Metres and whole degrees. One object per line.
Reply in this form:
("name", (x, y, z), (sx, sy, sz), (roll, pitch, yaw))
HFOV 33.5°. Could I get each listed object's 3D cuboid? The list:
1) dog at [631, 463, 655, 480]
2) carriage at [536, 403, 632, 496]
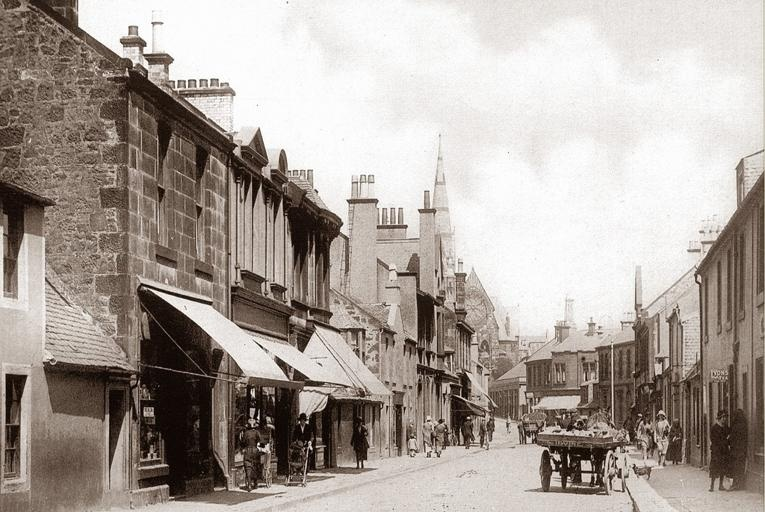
("dog", (9.134, 7.478, 44.645), (0.671, 0.569, 2.105), (14, 1, 12))
("carriage", (6.349, 6.032, 39.985), (2.484, 2.461, 4.473), (-5, -11, 28))
